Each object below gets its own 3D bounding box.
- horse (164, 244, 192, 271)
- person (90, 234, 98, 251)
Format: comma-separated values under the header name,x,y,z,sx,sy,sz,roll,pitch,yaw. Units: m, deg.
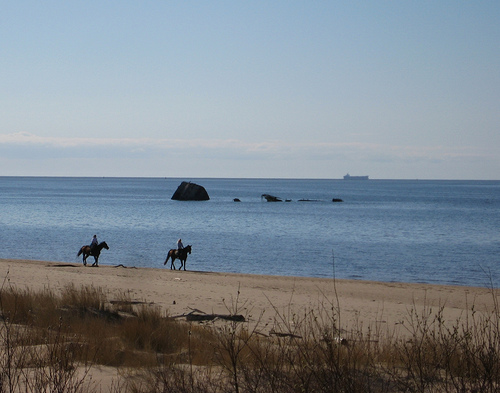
name,x,y,z,sx,sy,sz,roll,pitch,yaw
horse,-4.411,3.766,44.442,2.313,1.559,0.559,-2,-6,31
person,-9.495,2.737,44.115,0.375,0.940,2.372,0,3,-12
